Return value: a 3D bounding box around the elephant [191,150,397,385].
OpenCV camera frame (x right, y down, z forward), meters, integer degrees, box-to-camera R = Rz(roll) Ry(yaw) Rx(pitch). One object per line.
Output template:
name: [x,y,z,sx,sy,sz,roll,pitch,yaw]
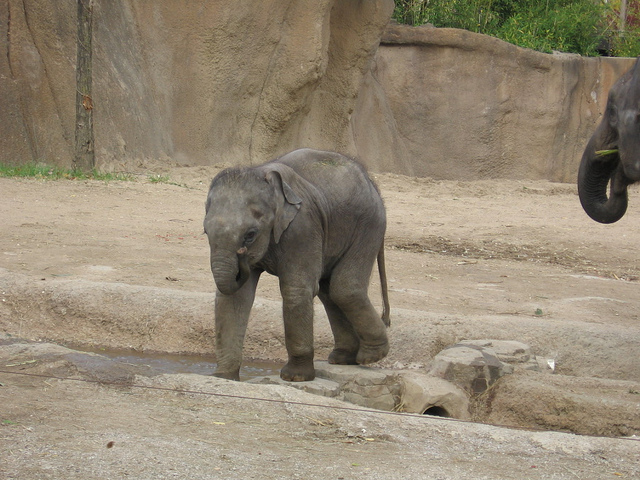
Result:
elephant: [-0.364,0.254,12.791,1.195,2.095,2.574,6,9,41]
